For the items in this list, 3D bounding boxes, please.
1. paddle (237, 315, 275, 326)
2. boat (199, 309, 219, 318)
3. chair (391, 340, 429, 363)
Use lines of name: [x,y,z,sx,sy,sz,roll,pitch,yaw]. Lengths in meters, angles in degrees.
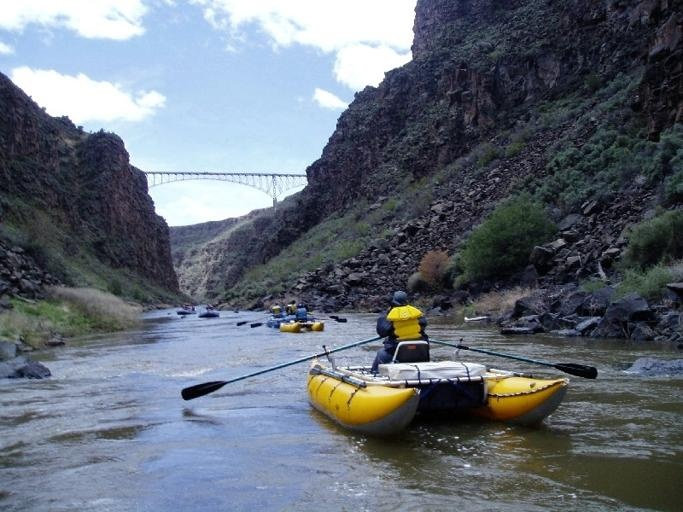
paddle: [-5.260,3.981,34.496,2.944,0.829,0.229,11,8,-41]
boat: [-11.913,5.136,51.448,1.567,0.472,2.585,2,-1,-13]
chair: [1.412,1.926,11.790,0.488,0.549,0.579,2,3,-4]
